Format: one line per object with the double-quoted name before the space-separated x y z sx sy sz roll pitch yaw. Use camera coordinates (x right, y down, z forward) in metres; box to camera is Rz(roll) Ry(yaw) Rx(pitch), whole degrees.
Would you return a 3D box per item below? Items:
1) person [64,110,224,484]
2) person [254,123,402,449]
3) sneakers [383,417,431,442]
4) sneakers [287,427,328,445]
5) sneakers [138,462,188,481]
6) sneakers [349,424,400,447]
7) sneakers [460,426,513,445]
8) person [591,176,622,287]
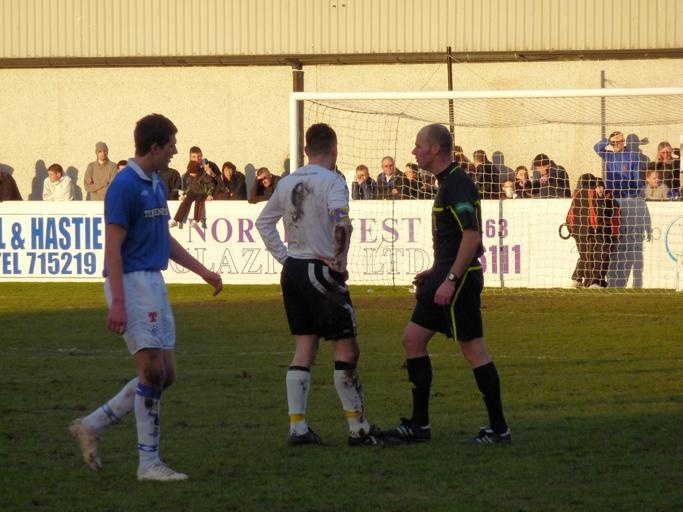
"person" -2.171 0.431 14.389 0.907 3.817 1.470 8 14 38
"person" -0.255 0.299 15.101 1.202 3.532 1.087 -2 11 -4
"sneakers" 0.714 1.981 15.144 0.592 0.273 0.223 4 -8 -4
"sneakers" -0.368 2.028 15.007 0.419 0.199 0.156 0 6 -15
"sneakers" -1.948 2.340 14.392 0.547 0.253 0.211 1 -1 -2
"sneakers" 0.373 2.057 15.100 0.585 0.267 0.221 -3 -3 -5
"sneakers" 1.651 2.029 14.993 0.574 0.226 0.203 2 -6 0
"person" 4.740 -0.381 23.639 0.511 1.892 0.353 -5 12 -20
